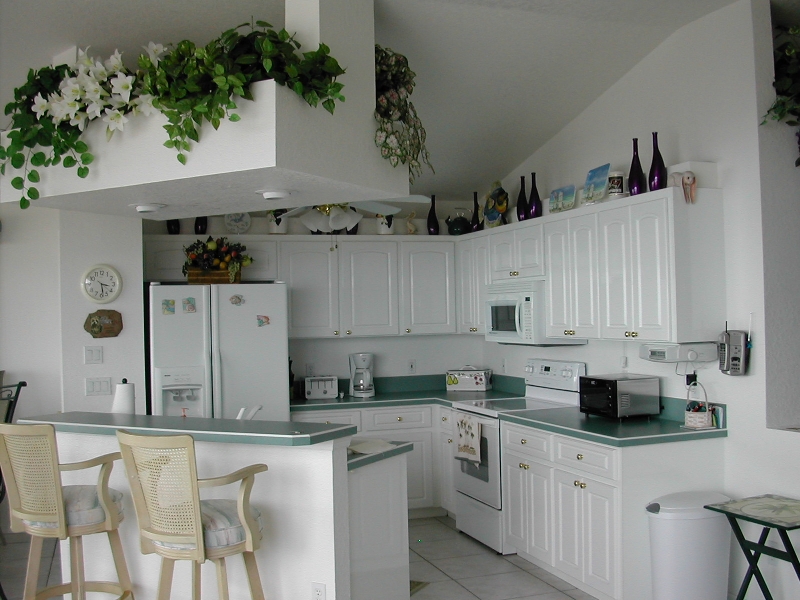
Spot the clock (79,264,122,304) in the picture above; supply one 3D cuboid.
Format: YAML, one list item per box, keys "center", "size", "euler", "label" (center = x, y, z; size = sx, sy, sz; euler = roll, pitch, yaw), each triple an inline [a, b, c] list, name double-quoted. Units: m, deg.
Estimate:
- center: [-2.546, -0.133, 5.535]
  size: [0.320, 0.334, 0.049]
  euler: [0, -6, -17]
  label: "clock"

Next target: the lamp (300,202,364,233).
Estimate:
- center: [-0.482, -0.538, 4.393]
  size: [0.326, 0.194, 0.377]
  euler: [0, -3, -31]
  label: "lamp"

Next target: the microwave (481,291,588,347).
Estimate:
- center: [1.189, 0.165, 5.782]
  size: [0.468, 0.447, 0.708]
  euler: [1, -1, -19]
  label: "microwave"

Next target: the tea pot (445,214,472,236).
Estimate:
- center: [0.596, -0.763, 6.820]
  size: [0.236, 0.174, 0.187]
  euler: [2, 3, 26]
  label: "tea pot"

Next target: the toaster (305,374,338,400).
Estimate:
- center: [-0.773, 0.842, 6.317]
  size: [0.228, 0.155, 0.240]
  euler: [1, -5, -16]
  label: "toaster"

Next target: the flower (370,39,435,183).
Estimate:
- center: [0.000, -1.210, 4.167]
  size: [0.243, 0.709, 0.464]
  euler: [-3, -1, 22]
  label: "flower"

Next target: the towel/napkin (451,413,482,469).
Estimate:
- center: [0.567, 1.218, 5.644]
  size: [0.072, 0.533, 0.539]
  euler: [1, 1, -21]
  label: "towel/napkin"

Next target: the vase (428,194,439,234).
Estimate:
- center: [0.331, -0.874, 6.849]
  size: [0.141, 0.367, 0.354]
  euler: [-2, -1, 3]
  label: "vase"

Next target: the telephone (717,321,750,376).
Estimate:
- center: [2.184, 0.334, 4.340]
  size: [0.190, 0.346, 0.188]
  euler: [0, 0, -20]
  label: "telephone"
